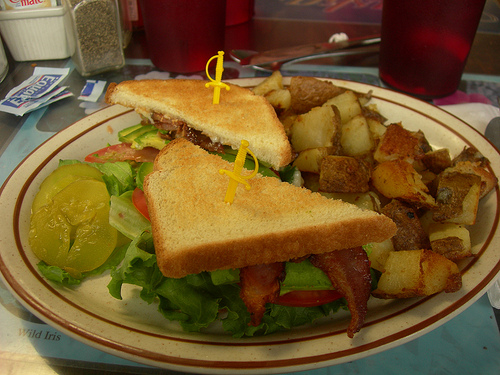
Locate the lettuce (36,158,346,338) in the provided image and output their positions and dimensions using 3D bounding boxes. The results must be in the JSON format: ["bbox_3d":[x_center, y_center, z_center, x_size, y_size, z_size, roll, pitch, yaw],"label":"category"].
[{"bbox_3d":[-0.155,0.185,1.542,0.811,0.202,0.653,-2,26,-14],"label":"lettuce"}]
